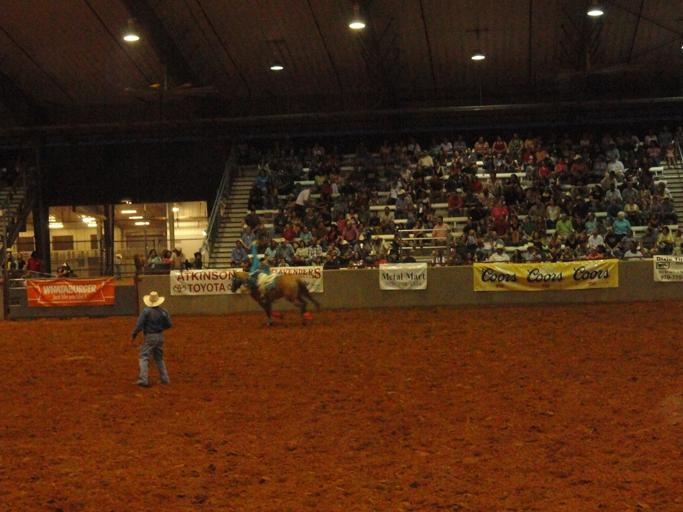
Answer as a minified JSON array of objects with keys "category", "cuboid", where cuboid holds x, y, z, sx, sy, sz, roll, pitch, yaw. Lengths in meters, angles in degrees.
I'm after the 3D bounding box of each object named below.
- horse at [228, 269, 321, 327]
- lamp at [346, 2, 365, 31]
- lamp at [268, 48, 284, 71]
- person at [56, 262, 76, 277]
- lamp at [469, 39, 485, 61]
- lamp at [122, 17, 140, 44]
[{"category":"horse","cuboid":[-2.413,1.327,27.473,2.947,2.138,0.821,-5,18,10]},{"category":"lamp","cuboid":[0.567,-9.755,31.836,1.018,1.235,1.104,-4,23,-5]},{"category":"lamp","cuboid":[-3.220,-9.286,36.660,0.565,0.663,0.636,4,0,14]},{"category":"person","cuboid":[-12.090,0.576,33.918,0.748,0.626,1.255,1,-3,-22]},{"category":"lamp","cuboid":[6.016,-9.356,35.238,0.790,1.025,0.848,1,-2,27]},{"category":"lamp","cuboid":[-9.100,-9.759,33.631,0.831,1.017,0.863,2,5,42]}]
